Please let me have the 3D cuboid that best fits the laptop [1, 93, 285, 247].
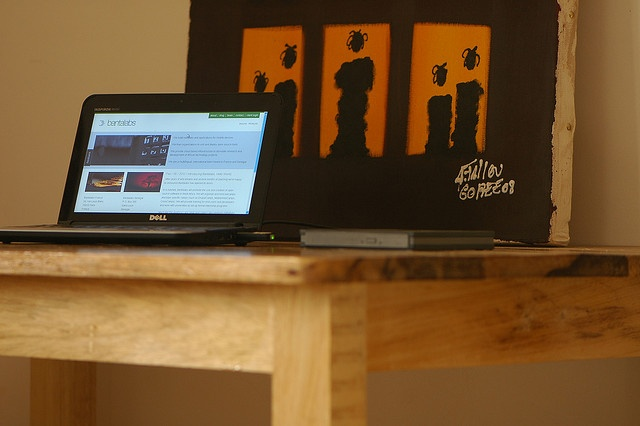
[{"bbox_3d":[-0.345,-0.127,1.783,0.568,0.359,0.385,2,1,13],"label":"laptop"}]
